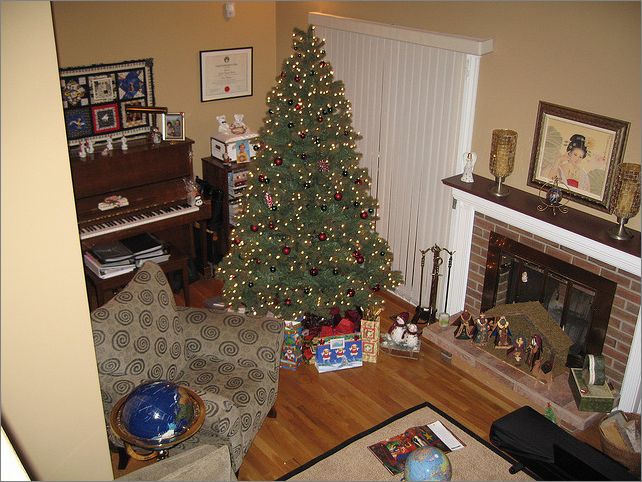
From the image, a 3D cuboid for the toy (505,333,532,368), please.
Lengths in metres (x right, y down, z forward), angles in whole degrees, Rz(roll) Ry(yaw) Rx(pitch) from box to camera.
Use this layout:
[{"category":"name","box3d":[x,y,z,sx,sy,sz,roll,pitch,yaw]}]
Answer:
[{"category":"toy","box3d":[1.873,1.013,4.704,0.213,0.299,0.158,5,27,16]}]

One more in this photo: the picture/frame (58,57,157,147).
[{"category":"picture/frame","box3d":[-2.339,-1.585,5.622,1.045,0.872,0.103,-17,26,-35]}]

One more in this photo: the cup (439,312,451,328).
[{"category":"cup","box3d":[1.319,0.841,5.298,0.099,0.124,0.121,4,14,17]}]

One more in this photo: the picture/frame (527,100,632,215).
[{"category":"picture/frame","box3d":[2.202,-0.715,4.193,0.062,0.846,0.793,-24,36,-36]}]

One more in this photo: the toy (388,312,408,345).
[{"category":"toy","box3d":[0.821,0.935,5.257,0.204,0.155,0.381,5,66,33]}]

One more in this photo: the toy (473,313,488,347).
[{"category":"toy","box3d":[1.577,0.872,4.885,0.140,0.323,0.086,8,22,22]}]

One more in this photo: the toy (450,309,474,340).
[{"category":"toy","box3d":[1.454,0.862,5.019,0.192,0.303,0.137,7,22,19]}]

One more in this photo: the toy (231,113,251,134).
[{"category":"toy","box3d":[-1.023,-1.470,6.279,0.249,0.227,0.200,-18,28,-38]}]

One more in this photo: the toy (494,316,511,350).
[{"category":"toy","box3d":[1.743,0.860,4.790,0.184,0.322,0.168,4,24,26]}]

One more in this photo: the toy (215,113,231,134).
[{"category":"toy","box3d":[-1.246,-1.487,6.330,0.169,0.251,0.244,-26,49,-29]}]

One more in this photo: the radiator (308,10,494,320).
[{"category":"radiator","box3d":[0.918,-0.840,5.686,0.212,3.162,1.918,-17,26,-37]}]

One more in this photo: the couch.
[{"category":"couch","box3d":[-0.960,0.860,3.888,1.265,1.541,1.391,-11,27,-32]}]

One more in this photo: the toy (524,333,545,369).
[{"category":"toy","box3d":[1.969,1.022,4.586,0.144,0.345,0.088,11,23,27]}]

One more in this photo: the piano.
[{"category":"piano","box3d":[-2.041,-0.326,5.717,1.326,1.341,0.722,-15,30,-28]}]

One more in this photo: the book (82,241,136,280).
[{"category":"book","box3d":[-2.176,0.134,5.336,0.494,0.306,0.630,-18,35,-39]}]

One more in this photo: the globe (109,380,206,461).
[{"category":"globe","box3d":[-0.970,0.975,2.860,0.543,0.306,0.416,-2,22,-4]}]

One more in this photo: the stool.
[{"category":"stool","box3d":[-1.774,0.308,4.702,0.729,0.456,0.517,-13,24,-36]}]
